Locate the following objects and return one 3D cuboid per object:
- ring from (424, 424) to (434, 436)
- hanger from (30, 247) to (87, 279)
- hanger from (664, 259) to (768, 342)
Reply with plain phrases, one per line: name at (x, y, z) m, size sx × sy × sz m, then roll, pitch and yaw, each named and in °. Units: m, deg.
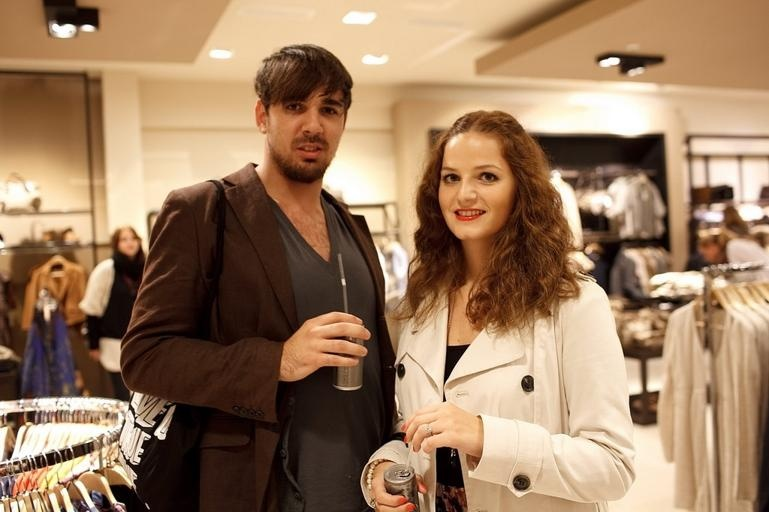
ring at (0.172, 0.663, 2.442) m, size 0.033 × 0.043 × 0.043 m, roll -8°, pitch -2°, yaw 6°
hanger at (-2.962, 0.068, 5.876) m, size 0.455 × 0.195 × 0.449 m, roll -5°, pitch 8°, yaw -38°
hanger at (1.947, 0.273, 3.553) m, size 0.448 × 0.472 × 0.194 m, roll 1°, pitch -3°, yaw -25°
